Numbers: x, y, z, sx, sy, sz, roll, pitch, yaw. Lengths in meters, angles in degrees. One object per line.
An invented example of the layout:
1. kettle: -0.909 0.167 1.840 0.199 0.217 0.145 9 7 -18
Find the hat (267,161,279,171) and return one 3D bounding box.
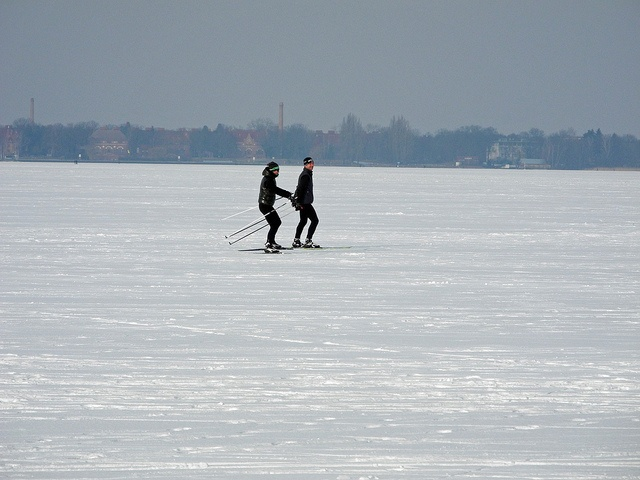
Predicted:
1. hat: -0.698 -1.076 25.190 0.176 0.139 0.141 20 20 25

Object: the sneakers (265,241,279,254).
1. sneakers: -0.724 0.145 25.478 0.201 0.142 0.234 0 9 2
